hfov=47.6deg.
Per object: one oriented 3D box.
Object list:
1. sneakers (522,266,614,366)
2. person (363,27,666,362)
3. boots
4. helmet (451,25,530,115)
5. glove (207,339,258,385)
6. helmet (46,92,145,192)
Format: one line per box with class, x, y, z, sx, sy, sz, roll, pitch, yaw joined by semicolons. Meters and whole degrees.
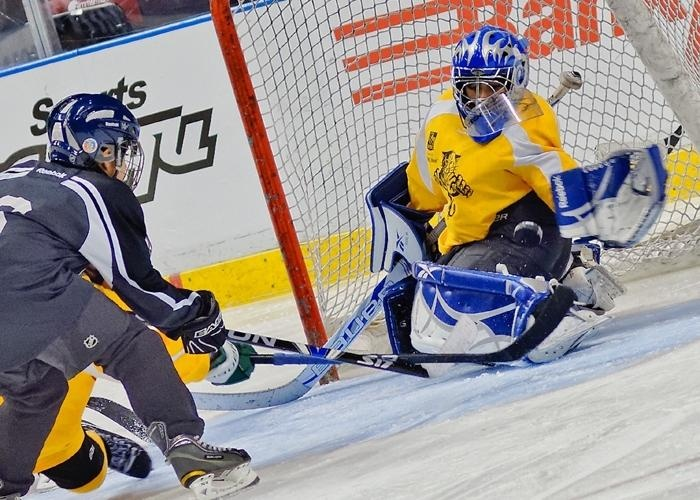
sneakers;0.791;0.265;2.924;0.195;0.091;0.256;-31;11;45
person;0.615;-0.196;3.107;1.323;1.280;0.849;5;6;43
boots;-0.473;0.619;2.466;0.298;0.186;0.141;-10;17;-6
helmet;0.542;-0.724;3.136;0.276;0.319;0.344;-3;18;31
glove;-0.469;0.448;3.146;0.150;0.126;0.202;-23;-4;-17
helmet;-0.847;-0.380;2.750;0.362;0.327;0.272;-4;10;-40
